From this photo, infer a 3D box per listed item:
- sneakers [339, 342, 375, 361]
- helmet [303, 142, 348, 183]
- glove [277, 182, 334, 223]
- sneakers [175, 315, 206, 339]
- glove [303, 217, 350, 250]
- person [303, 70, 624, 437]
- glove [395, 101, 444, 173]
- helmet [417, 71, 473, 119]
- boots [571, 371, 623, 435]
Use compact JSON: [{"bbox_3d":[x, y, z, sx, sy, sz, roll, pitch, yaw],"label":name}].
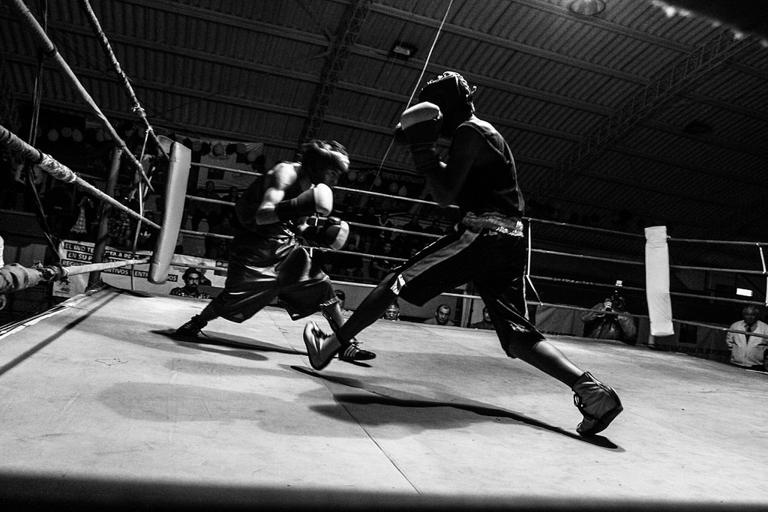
[{"bbox_3d":[-0.127,0.436,2.465,0.237,0.085,0.079,0,-5,2],"label":"sneakers"},{"bbox_3d":[-0.317,-0.456,2.641,0.284,0.230,0.238,3,8,-11],"label":"helmet"},{"bbox_3d":[-0.328,-0.212,2.329,0.324,0.107,0.192,-11,-7,26],"label":"glove"},{"bbox_3d":[-0.966,0.353,2.710,0.078,0.076,0.182,36,0,-2],"label":"sneakers"},{"bbox_3d":[-0.255,-0.105,2.565,0.274,0.144,0.135,0,-16,43],"label":"glove"},{"bbox_3d":[0.323,-0.046,2.233,1.527,1.282,0.562,12,6,26],"label":"person"},{"bbox_3d":[0.128,-0.452,2.016,0.168,0.243,0.182,9,2,-1],"label":"glove"},{"bbox_3d":[0.254,-0.651,2.191,0.205,0.165,0.211,0,11,1],"label":"helmet"},{"bbox_3d":[0.712,0.533,1.878,0.187,0.121,0.064,-27,6,2],"label":"boots"}]
